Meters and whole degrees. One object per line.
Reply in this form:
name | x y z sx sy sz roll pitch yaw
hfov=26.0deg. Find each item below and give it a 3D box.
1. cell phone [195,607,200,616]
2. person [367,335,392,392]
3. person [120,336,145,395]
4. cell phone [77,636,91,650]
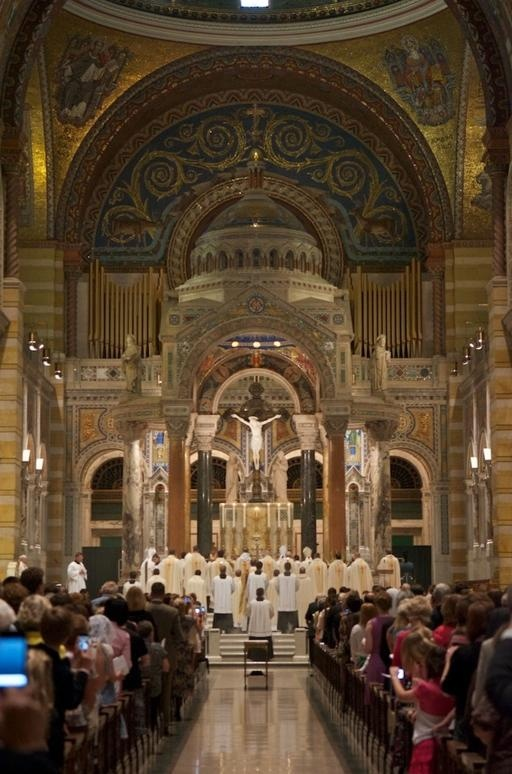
cell phone | -1.001 3.909 19.198 0.173 0.088 0.223 0 2 -4
person | 3.189 -0.533 28.449 0.444 1.493 0.848 -1 -9 4
person | -3.092 -0.528 27.810 0.470 1.526 0.682 1 -9 -7
cell phone | -0.978 1.474 6.350 0.071 0.121 0.070 -1 -12 5
